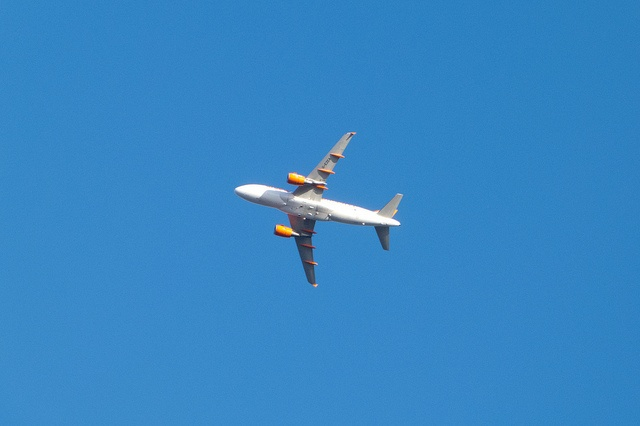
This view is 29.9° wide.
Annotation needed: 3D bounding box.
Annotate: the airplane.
[{"bbox_3d":[-0.090,-1.161,124.203,17.319,17.705,6.974,14,53,3],"label":"airplane"}]
